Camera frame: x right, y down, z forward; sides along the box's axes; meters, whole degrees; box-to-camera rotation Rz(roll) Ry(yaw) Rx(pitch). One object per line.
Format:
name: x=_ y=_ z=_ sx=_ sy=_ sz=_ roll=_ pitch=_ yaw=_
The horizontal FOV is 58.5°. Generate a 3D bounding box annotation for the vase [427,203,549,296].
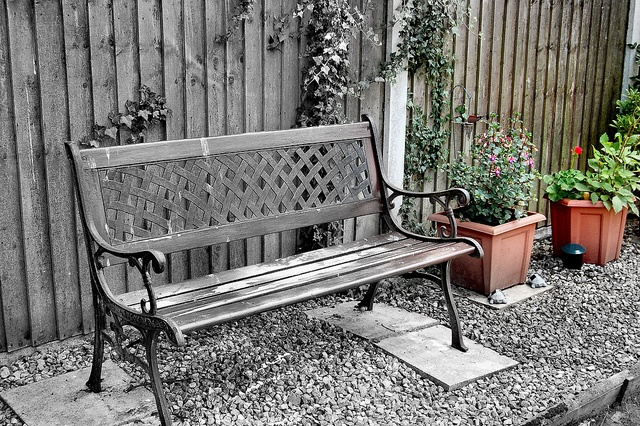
vase: x=1.482 y=0.321 z=5.116 sx=0.862 sy=0.655 sz=0.749 roll=-11 pitch=15 yaw=-41
